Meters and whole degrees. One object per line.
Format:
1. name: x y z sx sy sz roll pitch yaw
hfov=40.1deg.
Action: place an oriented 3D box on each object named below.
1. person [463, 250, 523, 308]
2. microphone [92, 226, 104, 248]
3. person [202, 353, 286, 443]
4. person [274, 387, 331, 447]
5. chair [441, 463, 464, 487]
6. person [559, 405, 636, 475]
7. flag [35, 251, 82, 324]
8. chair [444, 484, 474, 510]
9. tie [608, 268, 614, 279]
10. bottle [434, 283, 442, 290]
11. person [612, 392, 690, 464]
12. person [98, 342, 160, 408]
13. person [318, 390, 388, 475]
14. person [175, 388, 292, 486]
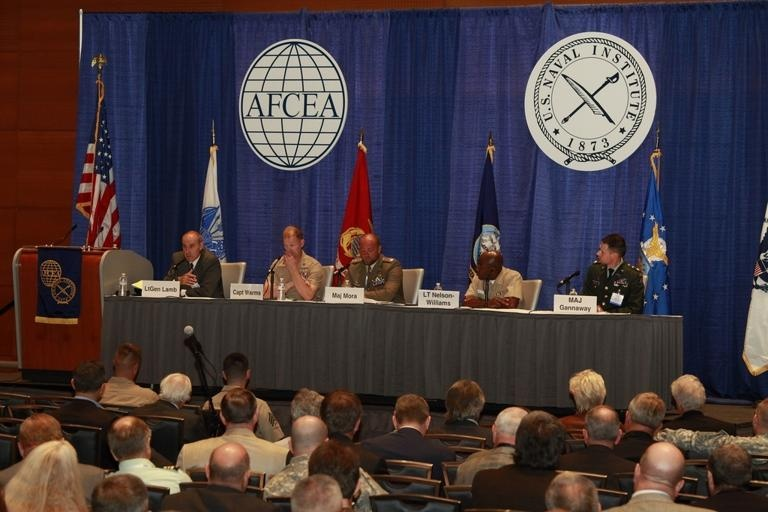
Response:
1. person: 1.272 0.327 12.012 0.620 0.683 0.757 4 3 -19
2. microphone: -3.692 -0.242 13.490 0.080 0.222 0.232 3 1 13
3. person: -1.388 1.397 10.432 0.833 0.737 0.453 2 18 7
4. person: -0.698 1.556 9.808 0.720 0.583 0.406 2 7 -1
5. chair: 0.566 1.876 9.024 0.137 0.252 0.175 0 -11 1
6. person: 1.892 1.647 9.163 0.766 0.631 0.573 3 2 11
7. flag: -3.813 0.345 12.341 0.545 0.771 0.082 3 1 14
8. chair: 0.624 1.975 8.708 0.177 0.254 0.196 2 7 15
9. tie: 2.620 0.202 12.200 0.023 0.094 0.072 12 -9 -33
10. bottle: 0.593 0.333 11.804 0.092 0.104 0.093 0 -3 6
11. person: 2.380 1.599 9.712 0.479 0.708 0.383 11 13 2
12. person: -2.588 1.212 10.521 0.750 0.585 0.395 5 8 30
13. person: -0.293 1.589 9.374 0.703 0.593 0.361 1 16 8
14. person: -1.299 1.596 9.394 1.172 0.821 0.556 1 8 8
